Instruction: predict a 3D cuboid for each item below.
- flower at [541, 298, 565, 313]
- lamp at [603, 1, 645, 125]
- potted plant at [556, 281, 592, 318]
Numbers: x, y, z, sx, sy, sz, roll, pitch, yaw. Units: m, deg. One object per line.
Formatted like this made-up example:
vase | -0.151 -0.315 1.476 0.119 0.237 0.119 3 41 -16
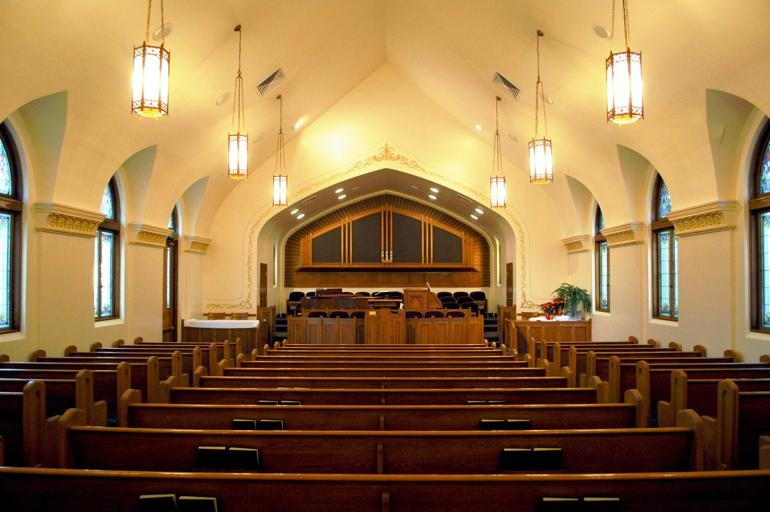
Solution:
flower | 4.428 1.317 16.400 0.421 0.263 0.416 1 -1 -28
lamp | 3.536 -2.940 9.298 0.487 2.243 1.371 -3 -9 22
potted plant | 5.005 1.192 16.586 0.795 0.758 0.784 -1 3 -31
